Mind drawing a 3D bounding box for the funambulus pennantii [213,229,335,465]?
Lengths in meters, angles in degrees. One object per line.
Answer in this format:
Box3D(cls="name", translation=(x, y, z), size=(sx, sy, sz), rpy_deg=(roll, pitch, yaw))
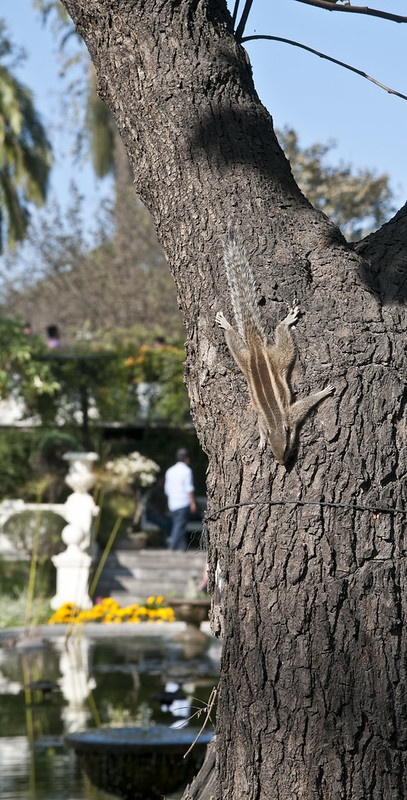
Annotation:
Box3D(cls="funambulus pennantii", translation=(0.258, -0.204, 6.708), size=(0.342, 0.846, 0.229), rpy_deg=(-11, -1, 22))
